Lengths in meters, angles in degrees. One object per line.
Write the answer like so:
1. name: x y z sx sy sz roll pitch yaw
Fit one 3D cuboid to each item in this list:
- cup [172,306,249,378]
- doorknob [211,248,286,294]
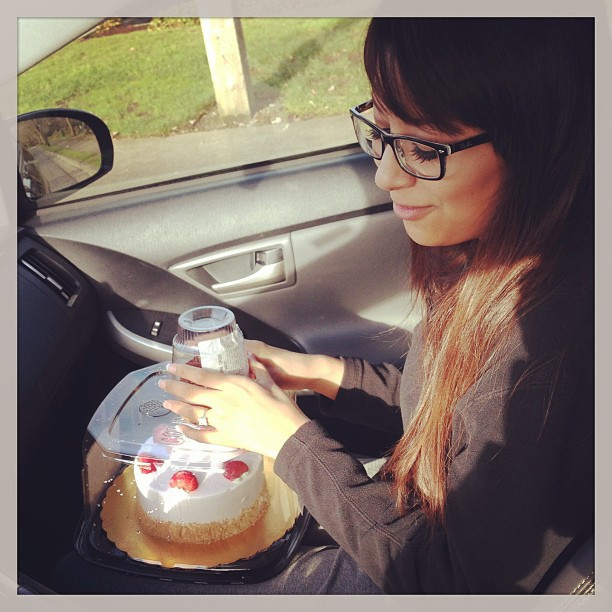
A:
1. cup: -0.181 0.065 1.187 0.145 0.127 0.143 -1 11 0
2. doorknob: -0.117 -0.084 1.303 0.151 0.074 0.040 -12 6 -11
